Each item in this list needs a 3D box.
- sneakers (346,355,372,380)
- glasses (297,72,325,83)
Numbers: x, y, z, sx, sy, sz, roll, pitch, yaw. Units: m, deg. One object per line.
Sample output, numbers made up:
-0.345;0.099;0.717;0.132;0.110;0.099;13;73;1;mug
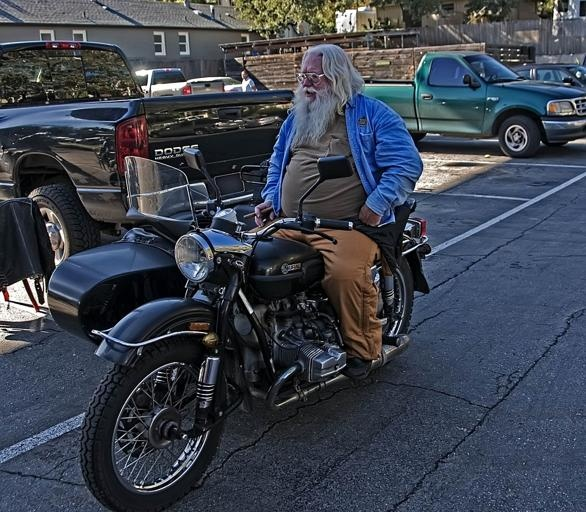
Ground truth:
0.388;0.643;2.978;0.137;0.053;0.178;3;-1;35;sneakers
0.098;-1.043;3.015;0.121;0.032;0.124;12;16;40;glasses
